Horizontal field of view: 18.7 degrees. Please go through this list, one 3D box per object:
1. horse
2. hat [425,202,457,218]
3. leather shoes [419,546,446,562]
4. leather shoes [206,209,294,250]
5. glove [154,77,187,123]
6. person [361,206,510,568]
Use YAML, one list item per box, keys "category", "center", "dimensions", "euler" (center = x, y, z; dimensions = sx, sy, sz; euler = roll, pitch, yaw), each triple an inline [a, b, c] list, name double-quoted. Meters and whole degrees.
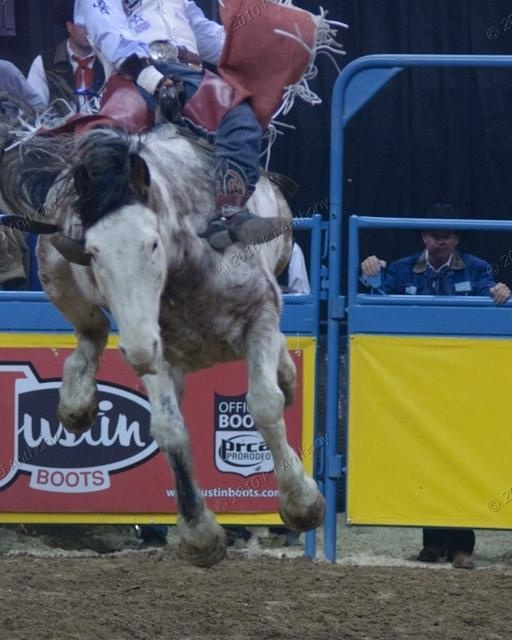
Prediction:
- category: "horse"
  center: [-0.344, 0.127, 6.622]
  dimensions: [1.198, 1.919, 0.957]
  euler: [-6, 9, -42]
- category: "hat"
  center: [1.096, -0.618, 9.063]
  dimensions: [0.145, 0.108, 0.119]
  euler: [1, 31, -4]
- category: "leather shoes"
  center: [0.951, 1.255, 8.395]
  dimensions: [0.061, 0.071, 0.171]
  euler: [-4, -21, 22]
- category: "leather shoes"
  center: [-0.022, -0.395, 6.619]
  dimensions: [0.153, 0.183, 0.484]
  euler: [5, 8, 35]
- category: "glove"
  center: [-0.369, -0.956, 6.748]
  dimensions: [0.082, 0.250, 0.153]
  euler: [-2, 7, -2]
- category: "person"
  center: [0.954, 0.328, 8.592]
  dimensions: [0.778, 1.891, 1.159]
  euler: [0, 7, -6]
